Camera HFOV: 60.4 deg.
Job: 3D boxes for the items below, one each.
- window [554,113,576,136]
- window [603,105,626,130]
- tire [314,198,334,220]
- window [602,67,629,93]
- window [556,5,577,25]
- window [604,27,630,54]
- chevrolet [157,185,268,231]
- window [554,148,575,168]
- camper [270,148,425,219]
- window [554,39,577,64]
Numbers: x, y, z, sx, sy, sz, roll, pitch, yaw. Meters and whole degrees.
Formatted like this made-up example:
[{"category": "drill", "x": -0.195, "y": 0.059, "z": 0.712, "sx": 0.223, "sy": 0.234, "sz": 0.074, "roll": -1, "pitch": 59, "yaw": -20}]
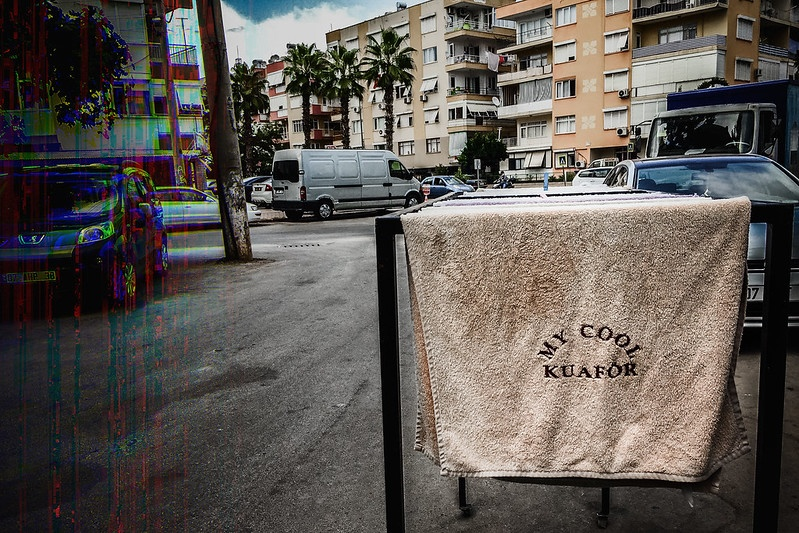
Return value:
[{"category": "window", "x": 12.635, "y": -11.046, "z": 52.436, "sx": 0.161, "sy": 1.448, "sz": 1.738, "roll": 3, "pitch": -2, "yaw": -44}, {"category": "window", "x": 15.197, "y": -10.687, "z": 48.474, "sx": 0.185, "sy": 1.436, "sz": 1.771, "roll": -3, "pitch": 5, "yaw": -35}, {"category": "tire", "x": -2.648, "y": -2.121, "z": 24.169, "sx": 0.575, "sy": 0.652, "sz": 0.188, "roll": -11, "pitch": 13, "yaw": -33}, {"category": "window", "x": 15.156, "y": -13.265, "z": 48.140, "sx": 0.196, "sy": 1.513, "sz": 1.859, "roll": -9, "pitch": 13, "yaw": -37}, {"category": "window", "x": 12.355, "y": -18.822, "z": 50.771, "sx": 0.196, "sy": 1.317, "sz": 1.601, "roll": -2, "pitch": 4, "yaw": -37}, {"category": "window", "x": 15.141, "y": -15.948, "z": 47.799, "sx": 0.221, "sy": 1.569, "sz": 1.922, "roll": 4, "pitch": 1, "yaw": -31}, {"category": "chevrolet", "x": -5.534, "y": -1.696, "z": 19.721, "sx": 2.980, "sy": 1.245, "sz": 1.106, "roll": 4, "pitch": 54, "yaw": -3}, {"category": "window", "x": 12.746, "y": -8.558, "z": 52.948, "sx": 0.503, "sy": 1.474, "sz": 1.505, "roll": -5, "pitch": 6, "yaw": -33}, {"category": "camper", "x": -1.872, "y": -3.039, "z": 25.809, "sx": 6.380, "sy": 3.054, "sz": 3.017, "roll": -9, "pitch": 12, "yaw": -36}, {"category": "window", "x": 12.432, "y": -16.348, "z": 51.389, "sx": 0.192, "sy": 1.424, "sz": 1.743, "roll": -15, "pitch": 20, "yaw": -32}]
